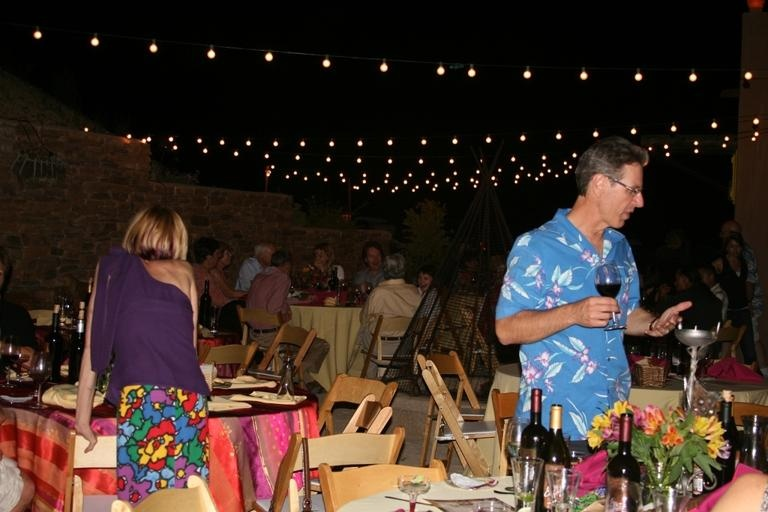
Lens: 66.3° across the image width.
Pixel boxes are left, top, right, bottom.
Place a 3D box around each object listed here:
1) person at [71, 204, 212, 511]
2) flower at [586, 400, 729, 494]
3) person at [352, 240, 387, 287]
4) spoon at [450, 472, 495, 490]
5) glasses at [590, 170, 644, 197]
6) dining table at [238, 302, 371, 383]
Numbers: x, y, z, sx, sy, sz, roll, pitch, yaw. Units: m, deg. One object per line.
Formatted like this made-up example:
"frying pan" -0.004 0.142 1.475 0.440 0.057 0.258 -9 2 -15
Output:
"person" -1.246 0.473 3.106 0.665 1.535 0.292 4 -10 -24
"flower" 0.940 0.609 1.998 0.308 0.222 0.315 8 -10 -15
"person" -0.179 0.160 9.160 0.706 0.760 0.440 -5 6 -12
"spoon" 0.365 0.952 2.487 0.119 0.032 0.082 7 -5 9
"glasses" 1.035 -0.309 2.559 0.111 0.035 0.115 26 -3 10
"dining table" -1.009 1.162 7.852 0.945 1.291 0.918 1 -2 42
